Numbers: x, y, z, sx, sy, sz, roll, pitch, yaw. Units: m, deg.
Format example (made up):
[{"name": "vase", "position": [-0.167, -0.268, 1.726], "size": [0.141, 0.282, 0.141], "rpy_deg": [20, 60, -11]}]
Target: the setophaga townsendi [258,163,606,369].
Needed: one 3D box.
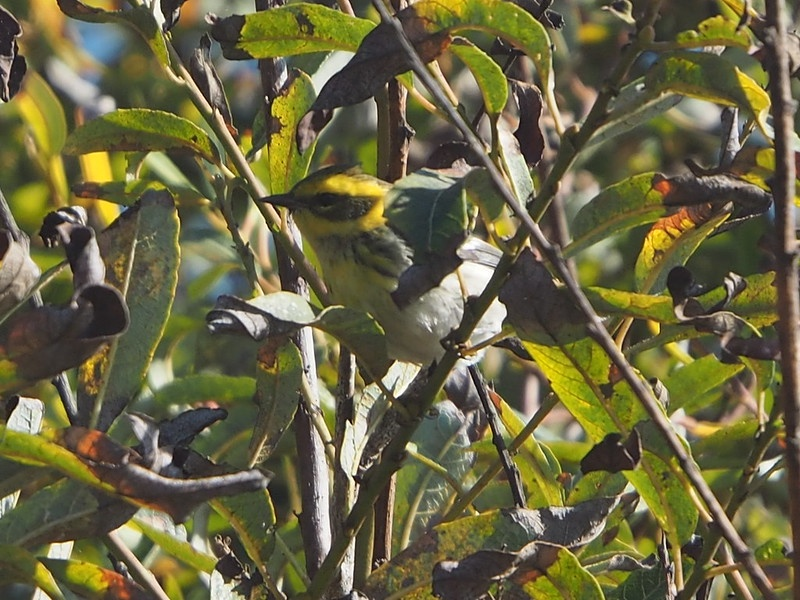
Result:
[{"name": "setophaga townsendi", "position": [0.078, -0.139, 5.513], "size": [0.891, 0.707, 0.523], "rpy_deg": [-12, -5, -36]}]
